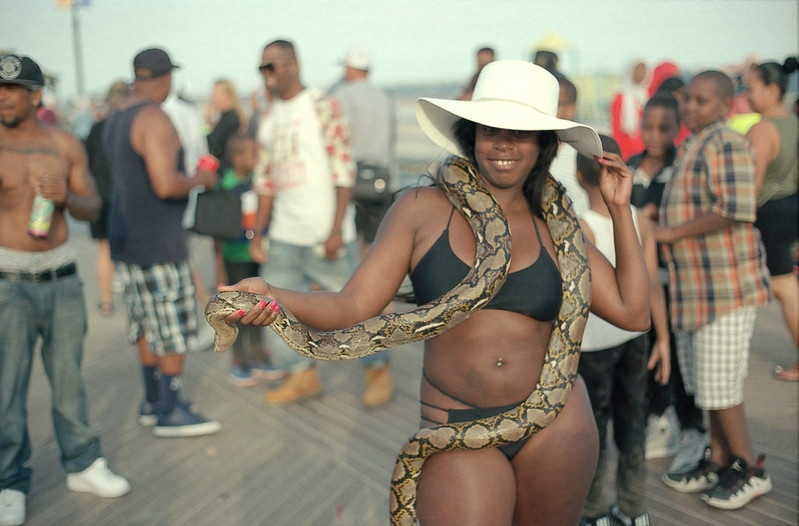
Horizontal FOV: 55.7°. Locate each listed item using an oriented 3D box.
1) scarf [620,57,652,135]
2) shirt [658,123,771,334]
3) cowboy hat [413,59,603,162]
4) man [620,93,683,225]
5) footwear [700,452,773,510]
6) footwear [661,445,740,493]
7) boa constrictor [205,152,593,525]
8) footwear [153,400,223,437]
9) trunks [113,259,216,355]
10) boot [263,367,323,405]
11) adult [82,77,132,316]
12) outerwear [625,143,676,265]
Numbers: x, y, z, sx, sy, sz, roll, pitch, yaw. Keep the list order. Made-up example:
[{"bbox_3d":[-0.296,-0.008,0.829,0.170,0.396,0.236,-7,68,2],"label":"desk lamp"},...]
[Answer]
[{"bbox_3d":[3.520,-2.409,11.494,0.438,1.446,0.451,-12,47,3],"label":"scarf"},{"bbox_3d":[2.746,-0.279,6.476,0.980,1.902,1.606,0,11,8],"label":"shirt"},{"bbox_3d":[0.852,-1.134,5.386,1.245,0.557,1.263,10,4,-5],"label":"cowboy hat"},{"bbox_3d":[2.547,-1.303,7.391,0.510,0.493,1.219,11,-14,25],"label":"man"},{"bbox_3d":[2.918,1.862,6.512,0.597,0.392,0.291,-9,18,-24],"label":"footwear"},{"bbox_3d":[2.804,1.850,6.711,0.329,0.438,0.709,18,-16,-18],"label":"footwear"},{"bbox_3d":[0.225,0.583,5.145,2.261,2.323,0.845,-6,17,-13],"label":"boa constrictor"},{"bbox_3d":[-2.020,1.482,7.238,0.584,0.244,0.310,1,2,-3],"label":"footwear"},{"bbox_3d":[-2.287,0.383,7.416,0.577,0.903,0.935,-8,4,-27],"label":"trunks"},{"bbox_3d":[-1.118,1.251,7.956,0.631,0.378,0.286,-8,7,-18],"label":"boot"},{"bbox_3d":[-2.768,-0.451,7.090,0.402,2.500,0.414,2,8,3],"label":"adult"},{"bbox_3d":[2.514,-0.660,7.485,0.537,1.597,0.461,17,59,24],"label":"outerwear"}]
